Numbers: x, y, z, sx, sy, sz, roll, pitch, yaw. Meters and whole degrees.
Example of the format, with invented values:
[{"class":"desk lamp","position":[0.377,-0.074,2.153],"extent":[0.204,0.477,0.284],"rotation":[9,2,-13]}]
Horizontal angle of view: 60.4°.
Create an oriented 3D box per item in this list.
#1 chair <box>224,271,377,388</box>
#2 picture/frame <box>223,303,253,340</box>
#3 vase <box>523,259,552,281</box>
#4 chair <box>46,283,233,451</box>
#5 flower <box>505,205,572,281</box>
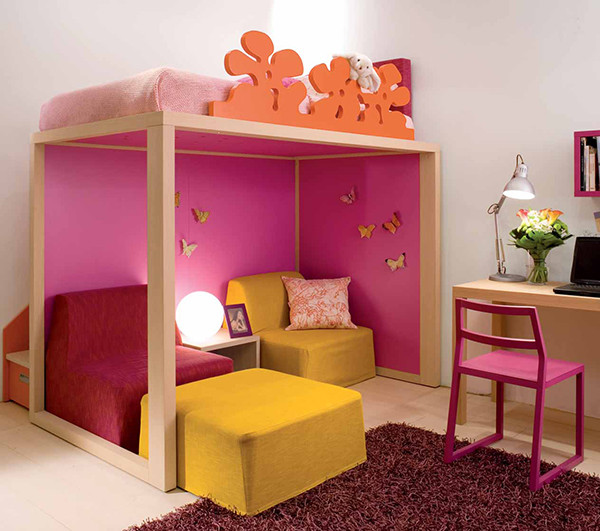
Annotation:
[{"class":"chair","position":[0.002,0.488,4.148],"extent":[0.868,0.945,0.911],"rotation":[-2,3,-42]},{"class":"picture/frame","position":[-0.466,0.416,3.858],"extent":[0.242,0.355,0.027],"rotation":[1,-30,-33]},{"class":"vase","position":[1.473,0.025,3.194],"extent":[0.136,0.168,0.146],"rotation":[0,-5,0]},{"class":"chair","position":[-1.034,0.445,3.231],"extent":[0.880,0.800,0.891],"rotation":[1,2,40]},{"class":"flower","position":[1.448,-0.118,3.251],"extent":[0.395,0.454,0.400],"rotation":[4,-4,-28]}]
